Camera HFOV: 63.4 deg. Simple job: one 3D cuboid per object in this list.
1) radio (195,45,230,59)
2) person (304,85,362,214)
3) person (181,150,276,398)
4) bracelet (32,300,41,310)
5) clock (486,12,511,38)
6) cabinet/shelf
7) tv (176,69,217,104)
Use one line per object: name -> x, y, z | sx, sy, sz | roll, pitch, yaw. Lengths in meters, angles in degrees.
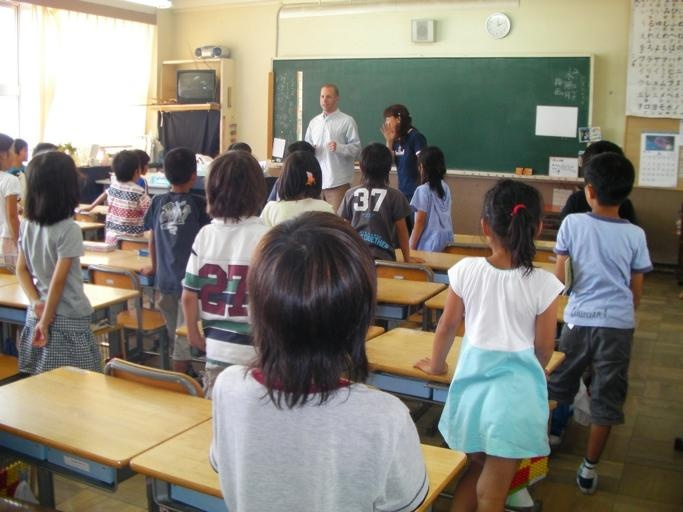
radio -> -2.027, -3.205, 8.680 | 0.553, 0.229, 0.331 | -1, 13, -7
person -> -0.148, -0.841, 5.698 | 0.570, 1.726, 0.545 | 9, 19, 26
person -> -0.456, 0.236, 2.294 | 0.386, 1.312, 0.389 | 4, 10, 0
bracelet -> -1.403, 0.230, 2.546 | 0.026, 0.034, 0.032 | 2, 0, 20
clock -> 1.999, -2.937, 7.022 | 0.296, 0.317, 0.043 | 6, 8, 35
cabinet/shelf -> -2.468, -2.246, 8.972 | 1.144, 1.761, 0.545 | 6, 9, 19
tv -> -2.266, -2.642, 8.607 | 0.527, 0.512, 0.546 | 0, 5, -6
